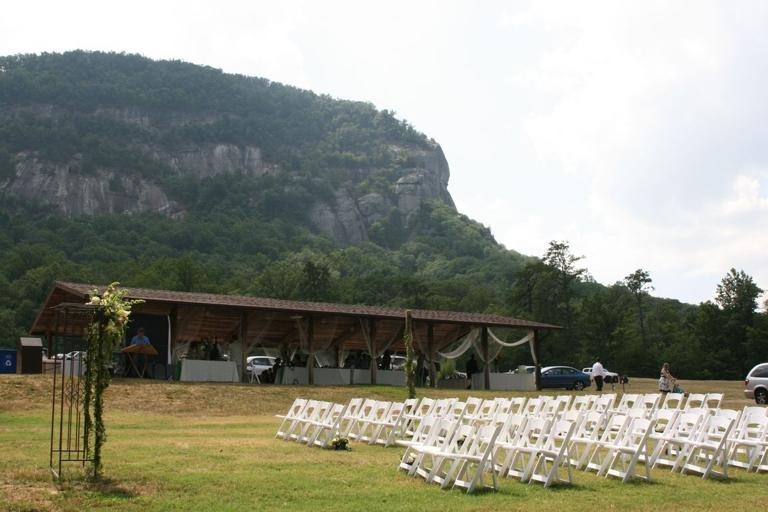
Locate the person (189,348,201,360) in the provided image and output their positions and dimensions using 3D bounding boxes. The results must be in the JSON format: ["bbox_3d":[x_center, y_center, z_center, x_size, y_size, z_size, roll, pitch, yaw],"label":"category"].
[{"bbox_3d":[-11.113,5.682,59.864,0.527,0.947,0.977,-1,-6,-11],"label":"person"}]

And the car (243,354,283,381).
[{"bbox_3d":[-7.786,6.838,63.192,1.277,1.235,2.890,-1,-2,40],"label":"car"}]

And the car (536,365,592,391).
[{"bbox_3d":[11.761,7.933,67.330,3.416,1.128,1.582,4,-6,-5],"label":"car"}]
